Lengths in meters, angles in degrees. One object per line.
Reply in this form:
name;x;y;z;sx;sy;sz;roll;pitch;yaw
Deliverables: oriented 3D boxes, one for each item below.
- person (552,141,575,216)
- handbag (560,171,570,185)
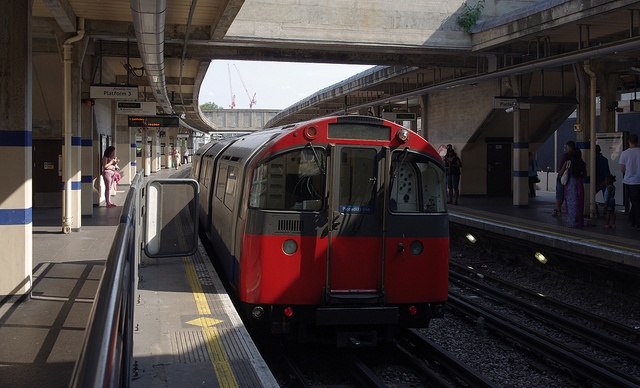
person;9.123;-0.568;17.542;0.692;2.810;0.781;9;0;-5
handbag;7.888;-0.559;14.769;0.151;0.394;0.301;14;21;-6
